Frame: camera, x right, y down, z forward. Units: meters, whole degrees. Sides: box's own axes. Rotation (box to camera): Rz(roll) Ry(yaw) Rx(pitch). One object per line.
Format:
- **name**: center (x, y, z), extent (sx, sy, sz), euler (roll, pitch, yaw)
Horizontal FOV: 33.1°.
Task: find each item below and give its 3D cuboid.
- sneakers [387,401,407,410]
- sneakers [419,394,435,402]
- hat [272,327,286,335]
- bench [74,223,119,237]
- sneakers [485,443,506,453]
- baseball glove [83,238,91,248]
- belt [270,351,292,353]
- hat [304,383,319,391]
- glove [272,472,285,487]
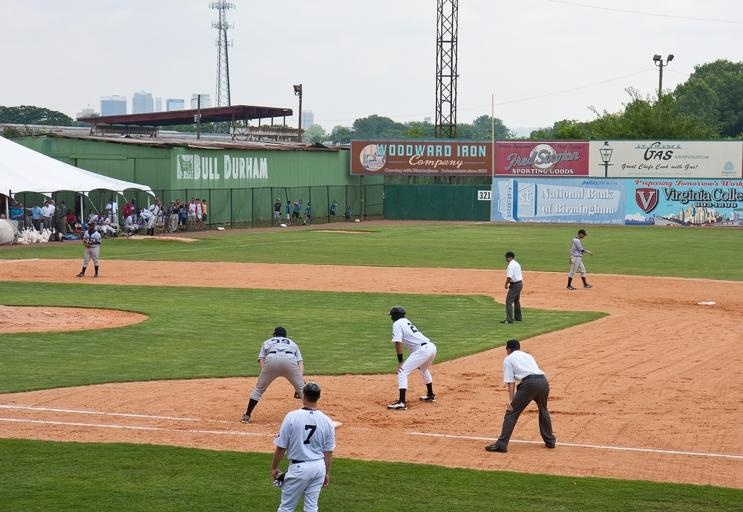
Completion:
- **sneakers**: center (0.671, 4.172, 34.677), extent (0.562, 0.208, 0.211), euler (1, 0, 6)
- **sneakers**: center (1.558, 4.027, 35.300), extent (0.446, 0.164, 0.162), euler (3, 6, 15)
- **hat**: center (-2.504, 2.067, 33.627), extent (0.261, 0.262, 0.324), euler (2, 8, -4)
- **bench**: center (-15.584, -1.473, 72.734), extent (1.957, 0.596, 2.085), euler (2, 1, -1)
- **sneakers**: center (3.162, 4.943, 32.163), extent (0.600, 0.209, 0.200), euler (4, 3, 10)
- **baseball glove**: center (-12.238, -0.581, 53.625), extent (0.383, 0.449, 0.185), euler (11, 11, 32)
- **belt**: center (-2.431, 2.561, 33.255), extent (0.556, 0.107, 0.079), euler (-1, 3, -2)
- **hat**: center (-1.395, 2.986, 28.428), extent (0.354, 0.188, 0.368), euler (-1, 2, -8)
- **glove**: center (-2.110, 5.114, 28.392), extent (0.163, 0.157, 0.400), euler (3, 16, -1)
